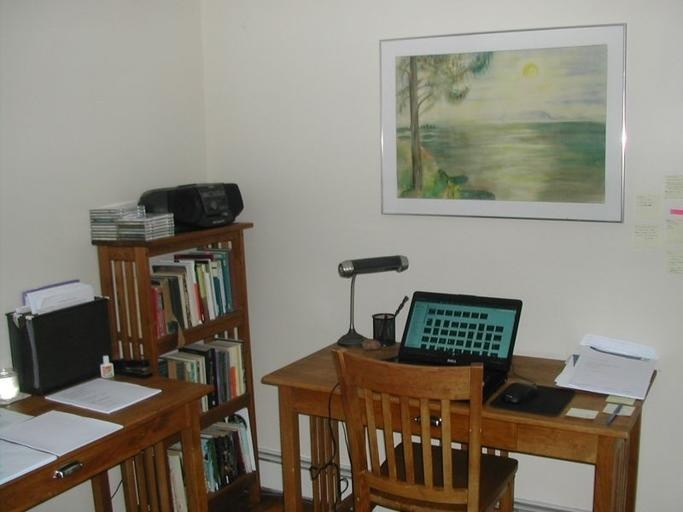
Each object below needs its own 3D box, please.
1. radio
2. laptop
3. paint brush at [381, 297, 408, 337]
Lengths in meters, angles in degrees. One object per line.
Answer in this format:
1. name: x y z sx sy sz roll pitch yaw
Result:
1. radio: -0.830 -0.268 3.152 0.352 0.230 0.482 2 10 17
2. laptop: 0.545 0.375 2.661 0.479 0.451 0.299 5 3 20
3. paint brush: 0.279 0.333 3.061 0.059 0.266 0.031 17 27 -14
